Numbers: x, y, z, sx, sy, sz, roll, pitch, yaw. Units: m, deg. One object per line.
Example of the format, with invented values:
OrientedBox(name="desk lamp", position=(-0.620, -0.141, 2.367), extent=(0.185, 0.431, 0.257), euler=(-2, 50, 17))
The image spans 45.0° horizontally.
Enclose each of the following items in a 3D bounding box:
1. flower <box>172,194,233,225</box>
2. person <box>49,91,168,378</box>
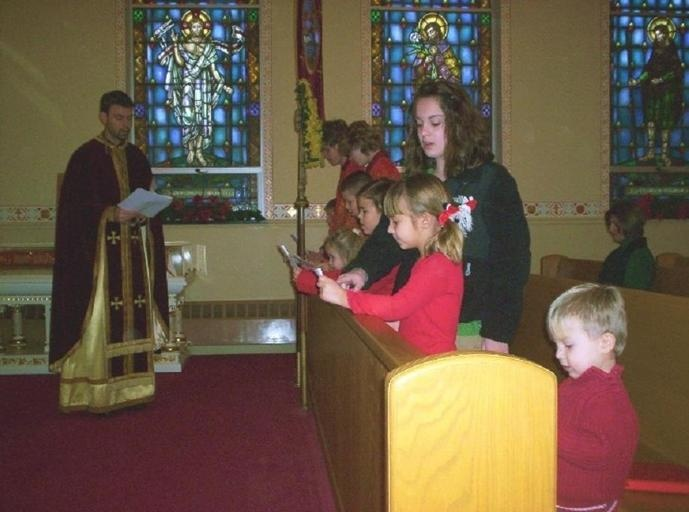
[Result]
OrientedBox(name="flower", position=(-1.772, -0.590, 10.322), extent=(0.775, 0.359, 0.479), euler=(-1, 3, -10))
OrientedBox(name="person", position=(-2.149, -0.255, 7.196), extent=(0.801, 2.346, 0.429), euler=(-1, 3, -17))
